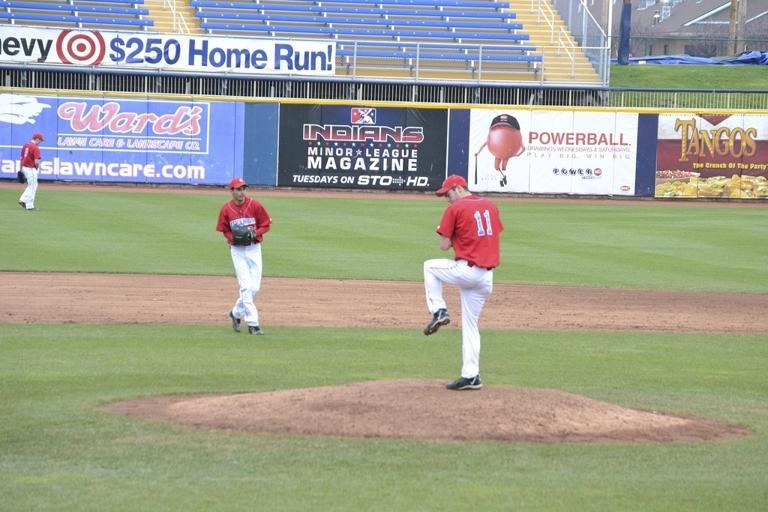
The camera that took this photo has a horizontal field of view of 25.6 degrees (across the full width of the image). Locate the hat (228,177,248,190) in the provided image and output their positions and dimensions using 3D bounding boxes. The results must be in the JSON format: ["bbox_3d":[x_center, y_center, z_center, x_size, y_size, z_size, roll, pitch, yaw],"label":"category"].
[{"bbox_3d":[-4.275,-2.045,49.587,0.385,0.319,0.718,0,4,2],"label":"hat"}]

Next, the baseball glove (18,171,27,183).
[{"bbox_3d":[-12.934,-2.664,60.345,0.264,0.294,0.751,-6,-36,-14],"label":"baseball glove"}]

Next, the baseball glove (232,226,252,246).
[{"bbox_3d":[-4.116,-0.504,49.299,0.495,0.456,0.570,3,24,14],"label":"baseball glove"}]
